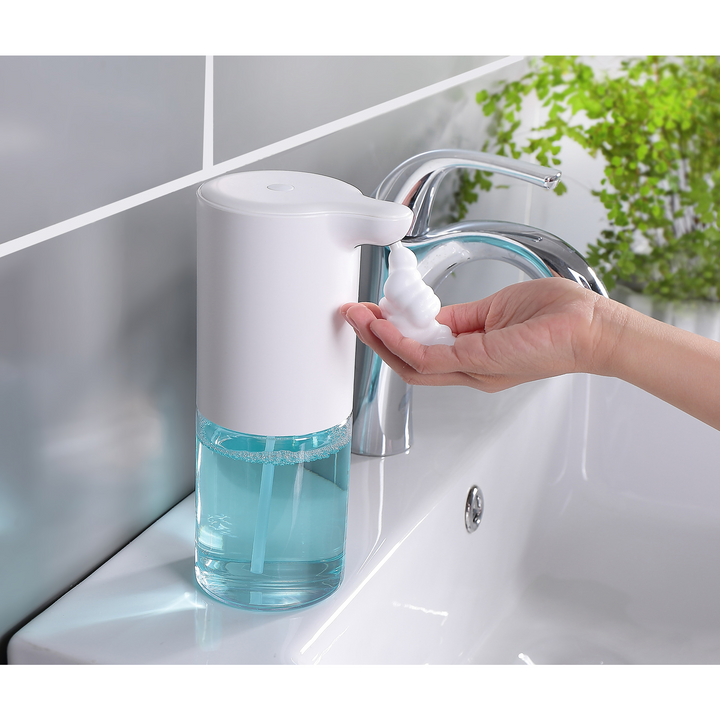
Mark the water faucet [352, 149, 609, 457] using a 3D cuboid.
[{"bbox_3d":[0.073,-0.029,0.493,0.171,0.220,0.048,9,21,22],"label":"water faucet"}]

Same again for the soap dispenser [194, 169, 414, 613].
[{"bbox_3d":[-0.033,0.020,0.359,0.104,0.223,0.069,-3,13,-15],"label":"soap dispenser"}]
